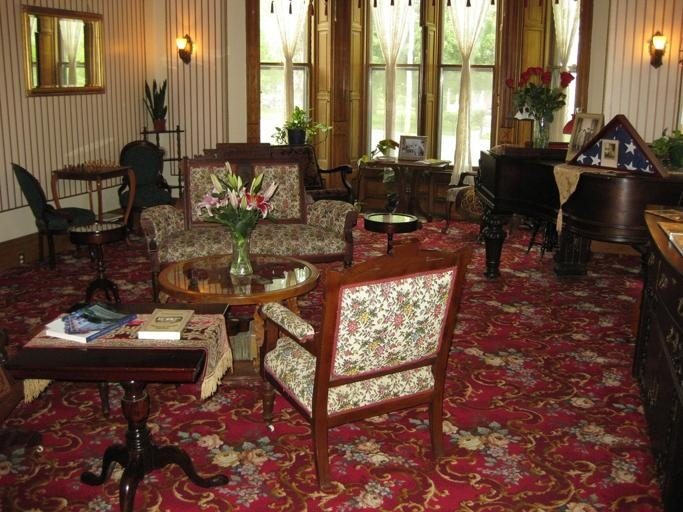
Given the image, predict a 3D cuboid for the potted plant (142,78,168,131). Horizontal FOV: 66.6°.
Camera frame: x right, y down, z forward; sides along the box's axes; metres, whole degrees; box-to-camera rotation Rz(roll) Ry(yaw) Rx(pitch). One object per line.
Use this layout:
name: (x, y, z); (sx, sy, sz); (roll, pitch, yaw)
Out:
potted plant: (-3.127, -2.582, 8.888); (0.428, 0.865, 0.701); (-7, 20, -18)

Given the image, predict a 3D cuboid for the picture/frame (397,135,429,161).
picture/frame: (1.272, -1.928, 9.274); (0.505, 0.423, 0.389); (5, 19, 15)

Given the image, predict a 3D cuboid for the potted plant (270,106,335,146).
potted plant: (-0.657, -2.183, 8.899); (0.940, 0.441, 0.660); (2, 14, 16)

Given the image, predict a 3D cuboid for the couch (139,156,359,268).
couch: (-1.006, -0.457, 5.568); (2.185, 0.871, 0.726); (-2, 13, -7)

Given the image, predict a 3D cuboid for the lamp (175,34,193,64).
lamp: (-2.634, -3.473, 8.740); (0.301, 0.486, 0.166); (10, 22, 28)

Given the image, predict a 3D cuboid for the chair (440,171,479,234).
chair: (2.051, -0.945, 8.786); (0.595, 0.932, 1.203); (4, 18, 13)

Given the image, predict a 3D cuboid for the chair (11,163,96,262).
chair: (-3.530, -0.540, 6.493); (0.703, 1.245, 0.459); (-12, 23, -30)

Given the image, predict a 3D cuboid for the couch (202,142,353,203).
couch: (-0.770, -1.036, 6.357); (2.025, 0.991, 0.839); (-5, 11, -29)

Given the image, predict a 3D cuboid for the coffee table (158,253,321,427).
coffee table: (-0.742, 0.557, 4.006); (1.185, 0.559, 1.022); (-2, 18, -9)

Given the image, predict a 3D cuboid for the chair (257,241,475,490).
chair: (0.113, 0.506, 2.963); (0.897, 1.316, 0.682); (-10, 21, -25)

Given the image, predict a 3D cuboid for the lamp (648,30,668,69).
lamp: (4.644, -3.023, 7.625); (0.260, 0.519, 0.147); (2, 20, 6)

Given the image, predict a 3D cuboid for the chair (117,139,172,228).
chair: (-3.058, -1.104, 8.106); (0.907, 1.126, 0.875); (-19, 40, -39)

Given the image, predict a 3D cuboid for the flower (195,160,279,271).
flower: (-0.840, -0.265, 3.941); (0.718, 0.727, 0.583); (-3, -7, 27)

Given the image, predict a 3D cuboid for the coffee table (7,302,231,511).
coffee table: (-0.990, 0.741, 2.920); (1.136, 0.768, 1.007); (3, 15, 2)
